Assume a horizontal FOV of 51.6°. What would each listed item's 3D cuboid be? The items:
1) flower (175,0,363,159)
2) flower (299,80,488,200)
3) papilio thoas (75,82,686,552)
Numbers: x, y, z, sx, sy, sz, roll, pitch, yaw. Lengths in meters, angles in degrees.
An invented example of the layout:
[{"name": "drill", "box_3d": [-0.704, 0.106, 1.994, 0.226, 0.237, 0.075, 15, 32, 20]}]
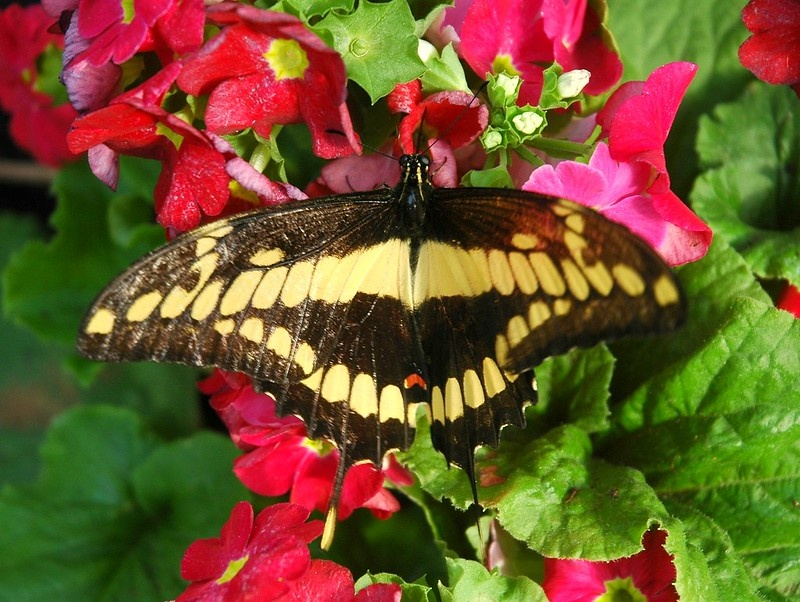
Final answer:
[{"name": "flower", "box_3d": [-0.154, -0.252, 0.983, 0.232, 0.129, 0.179, 15, -7, 4]}, {"name": "flower", "box_3d": [0.009, -0.190, 1.080, 0.148, 0.161, 0.077, 10, 31, -17]}, {"name": "papilio thoas", "box_3d": [0.003, 0.023, 1.097, 0.725, 0.559, 0.088, -2, 29, -2]}]
